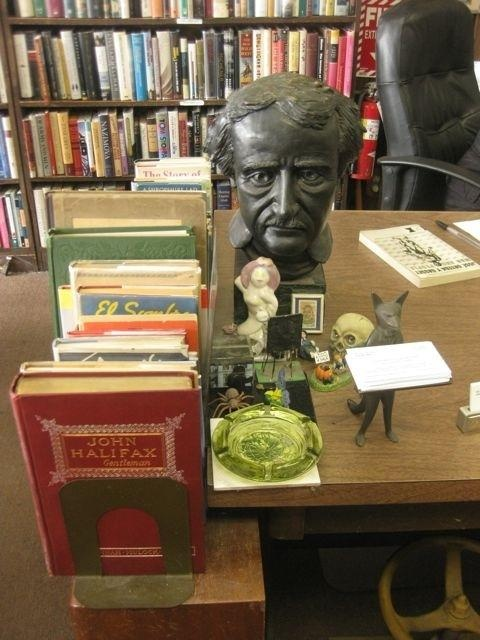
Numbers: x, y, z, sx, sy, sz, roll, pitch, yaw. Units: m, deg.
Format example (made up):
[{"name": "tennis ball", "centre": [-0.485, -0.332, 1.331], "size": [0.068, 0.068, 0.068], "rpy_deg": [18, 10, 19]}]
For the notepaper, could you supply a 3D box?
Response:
[{"name": "notepaper", "centre": [0.195, 0.055, 0.658], "size": [0.105, 0.016, 0.070], "rpy_deg": [-5, 50, -9]}]
